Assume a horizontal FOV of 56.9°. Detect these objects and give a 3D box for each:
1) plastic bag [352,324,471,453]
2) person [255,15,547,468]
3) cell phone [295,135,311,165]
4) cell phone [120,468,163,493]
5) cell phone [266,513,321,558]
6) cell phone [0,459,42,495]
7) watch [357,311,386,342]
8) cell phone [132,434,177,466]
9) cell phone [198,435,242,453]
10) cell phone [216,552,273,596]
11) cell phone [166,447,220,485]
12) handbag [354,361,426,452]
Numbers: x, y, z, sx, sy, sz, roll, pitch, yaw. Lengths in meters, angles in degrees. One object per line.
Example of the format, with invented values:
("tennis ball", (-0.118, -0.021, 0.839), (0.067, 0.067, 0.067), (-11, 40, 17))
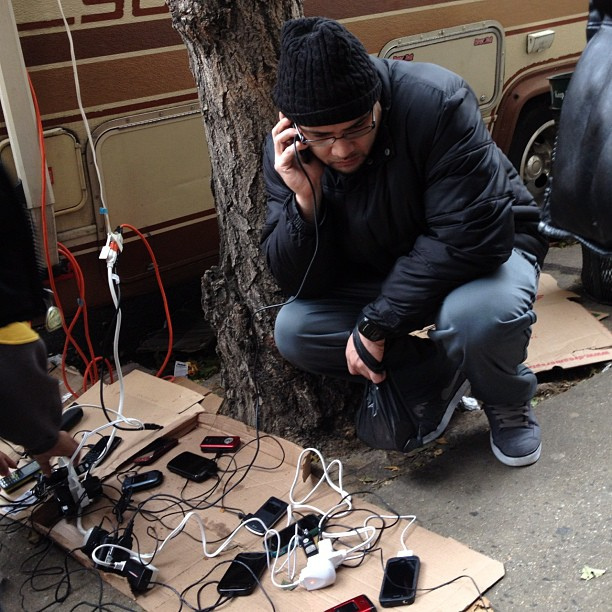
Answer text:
("plastic bag", (0.428, 0.332, 2.208), (0.475, 0.534, 0.222), (-19, 23, -19))
("person", (0.297, -0.149, 2.002), (0.952, 1.601, 0.604), (-2, 25, 23))
("cell phone", (-0.006, -0.529, 1.925), (0.031, 0.088, 0.063), (-45, 26, 10))
("cell phone", (-0.637, 0.676, 2.194), (0.118, 0.024, 0.078), (-10, 23, 6))
("cell phone", (-0.040, 0.737, 1.833), (0.171, 0.025, 0.076), (-30, 23, -37))
("cell phone", (-1.168, 0.688, 2.283), (0.072, 0.029, 0.164), (31, 46, 33))
("watch", (0.210, 0.076, 1.938), (0.103, 0.072, 0.090), (32, 10, -6))
("cell phone", (-0.643, 0.600, 2.374), (0.080, 0.062, 0.181), (7, 26, 37))
("cell phone", (-0.366, 0.568, 2.339), (0.127, 0.032, 0.078), (0, 24, 9))
("cell phone", (-0.185, 0.808, 1.715), (0.128, 0.056, 0.160), (-2, 21, 18))
("cell phone", (-0.451, 0.640, 2.260), (0.202, 0.036, 0.141), (9, 27, 40))
("handbag", (0.313, 0.393, 2.202), (0.201, 0.336, 0.330), (1, -4, -34))
